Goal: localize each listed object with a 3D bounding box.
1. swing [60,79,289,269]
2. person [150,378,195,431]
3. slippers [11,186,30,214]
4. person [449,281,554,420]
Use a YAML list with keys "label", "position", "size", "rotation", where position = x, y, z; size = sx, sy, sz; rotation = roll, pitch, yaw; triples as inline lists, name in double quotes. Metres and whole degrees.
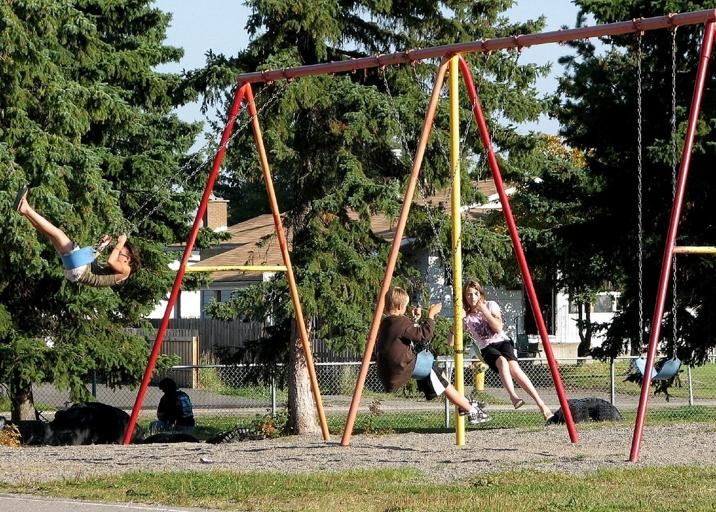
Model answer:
- label: "swing"
  position: [-1.948, -1.128, 22.645]
  size: [3.329, 3.172, 2.189]
  rotation: [0, -1, 36]
- label: "person"
  position: [-3.651, 2.905, 25.718]
  size: [0.639, 1.039, 1.223]
  rotation: [-3, -10, 13]
- label: "slippers"
  position: [-5.011, -0.835, 19.546]
  size: [0.141, 0.449, 0.116]
  rotation: [17, -1, -6]
- label: "person"
  position: [1.992, 1.299, 20.222]
  size: [1.223, 2.419, 0.697]
  rotation: [1, -1, -33]
